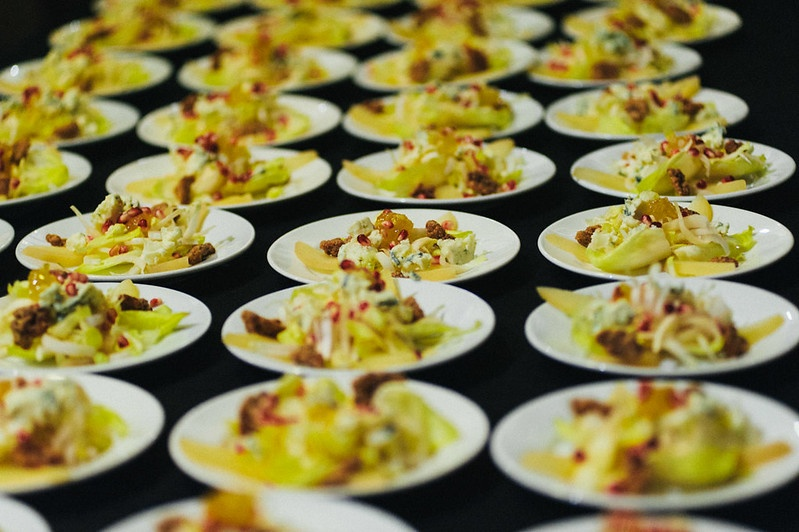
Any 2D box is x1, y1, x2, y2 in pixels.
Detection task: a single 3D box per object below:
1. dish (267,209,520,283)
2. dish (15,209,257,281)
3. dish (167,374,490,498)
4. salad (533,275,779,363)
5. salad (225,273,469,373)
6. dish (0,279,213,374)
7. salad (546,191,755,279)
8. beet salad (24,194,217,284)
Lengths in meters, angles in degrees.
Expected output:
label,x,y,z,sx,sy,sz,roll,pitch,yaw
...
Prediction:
label,x,y,z,sx,sy,sz,roll,pitch,yaw
dish,-0.006,-0.073,2.119,0.369,0.049,0.349,-5,19,-6
dish,-0.715,-0.070,2.176,0.373,0.051,0.357,-5,21,-8
dish,-0.137,0.320,1.442,0.320,0.078,0.309,-13,14,-34
salad,0.537,0.120,1.572,0.513,0.114,0.191,4,47,14
salad,-0.100,0.136,1.692,0.539,0.140,0.253,3,47,13
dish,-0.556,0.095,1.681,0.311,0.042,0.308,14,24,29
salad,0.657,-0.073,1.976,0.543,0.115,0.329,-1,45,9
beet salad,-0.763,-0.073,2.146,0.339,0.114,0.321,5,17,3
